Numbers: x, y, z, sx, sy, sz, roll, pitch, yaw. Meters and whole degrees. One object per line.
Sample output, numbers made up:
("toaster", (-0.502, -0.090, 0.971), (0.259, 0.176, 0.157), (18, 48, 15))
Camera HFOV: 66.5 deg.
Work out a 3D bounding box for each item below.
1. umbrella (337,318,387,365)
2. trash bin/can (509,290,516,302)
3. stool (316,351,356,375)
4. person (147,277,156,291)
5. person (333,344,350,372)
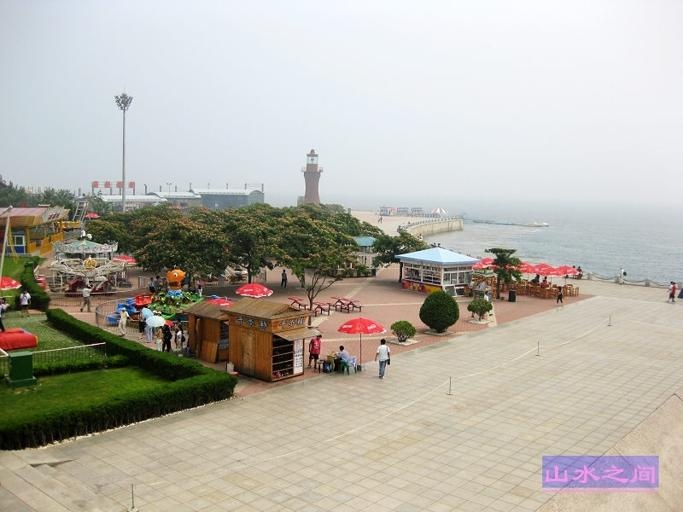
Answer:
("umbrella", (1.067, 4.411, 26.737), (2.661, 2.397, 2.473), (1, 1, -17))
("trash bin/can", (14.285, 3.346, 43.731), (0.495, 1.001, 0.475), (4, 9, 15))
("stool", (-0.356, 5.347, 25.894), (1.298, 0.587, 1.308), (2, 4, 32))
("person", (-15.787, 2.368, 43.196), (0.539, 1.531, 0.630), (-8, 18, -17))
("person", (0.088, 5.070, 25.872), (0.725, 1.336, 0.653), (8, 11, 38))
